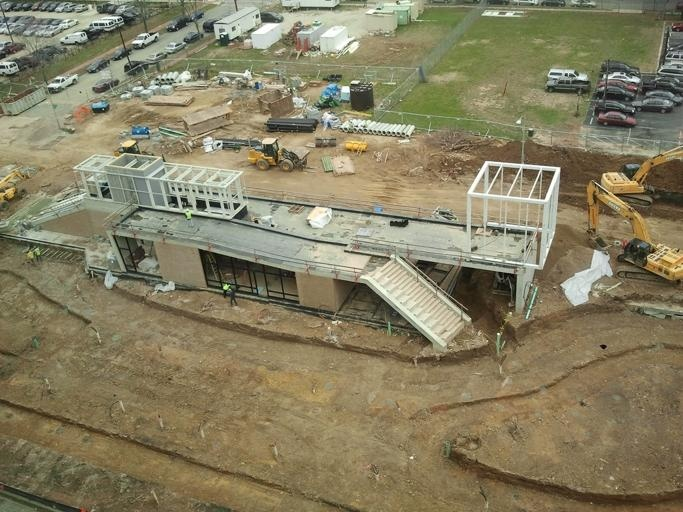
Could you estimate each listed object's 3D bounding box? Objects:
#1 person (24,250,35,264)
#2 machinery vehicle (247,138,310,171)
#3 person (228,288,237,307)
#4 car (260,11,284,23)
[{"bbox_3d":[-23.905,0.067,45.345,0.809,0.900,0.958,-20,40,-12],"label":"person"},{"bbox_3d":[-5.693,-9.050,53.051,5.485,1.858,2.238,7,33,4],"label":"machinery vehicle"},{"bbox_3d":[-7.303,2.788,39.606,1.123,0.902,0.272,18,23,37],"label":"person"},{"bbox_3d":[-10.642,-35.855,88.522,3.862,1.123,1.600,4,35,10],"label":"car"}]
